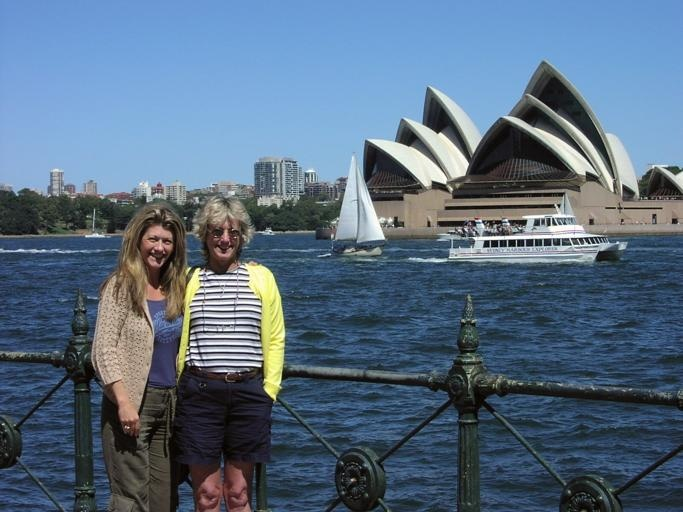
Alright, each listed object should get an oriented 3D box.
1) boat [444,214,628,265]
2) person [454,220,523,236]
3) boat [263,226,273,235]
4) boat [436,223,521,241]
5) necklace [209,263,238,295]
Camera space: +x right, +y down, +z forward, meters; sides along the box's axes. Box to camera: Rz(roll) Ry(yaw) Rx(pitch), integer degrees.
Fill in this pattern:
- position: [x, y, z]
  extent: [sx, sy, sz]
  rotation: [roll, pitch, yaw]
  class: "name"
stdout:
- position: [8.130, -0.718, 61.257]
  extent: [6.515, 1.922, 1.517]
  rotation: [-2, -2, 26]
  class: "boat"
- position: [7.909, -1.521, 79.028]
  extent: [2.464, 0.588, 1.526]
  rotation: [-4, 3, -17]
  class: "person"
- position: [-8.342, -2.976, 171.196]
  extent: [1.074, 1.228, 3.426]
  rotation: [0, -1, -1]
  class: "boat"
- position: [7.194, -1.272, 76.735]
  extent: [2.776, 0.593, 1.437]
  rotation: [-6, -1, 22]
  class: "boat"
- position: [-1.571, 0.311, 19.955]
  extent: [0.570, 0.386, 0.062]
  rotation: [2, -4, 1]
  class: "necklace"
